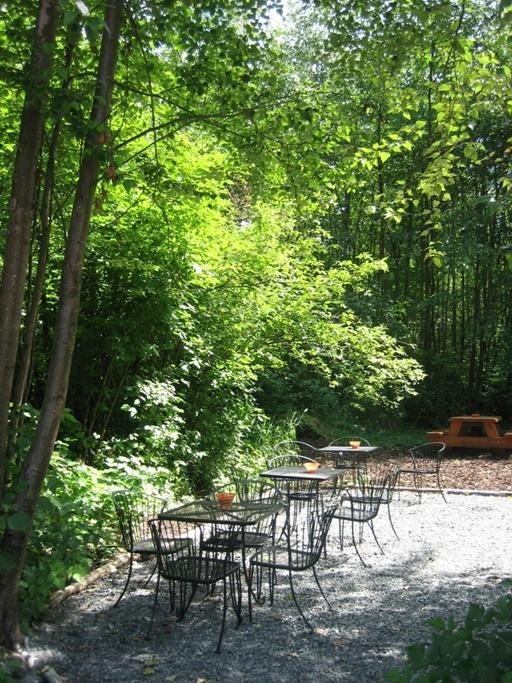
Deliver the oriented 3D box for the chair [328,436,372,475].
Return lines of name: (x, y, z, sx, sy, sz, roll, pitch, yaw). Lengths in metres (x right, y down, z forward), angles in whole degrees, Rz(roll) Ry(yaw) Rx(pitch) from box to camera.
chair: (1.325, 1.605, 9.395, 0.663, 0.240, 0.935, -1, 0, 16)

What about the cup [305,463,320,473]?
cup: (0.503, 1.142, 6.073, 0.120, 0.054, 0.106, 2, -13, -8)

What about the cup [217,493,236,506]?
cup: (-0.191, 1.027, 4.386, 0.095, 0.054, 0.090, -1, -14, 0)
